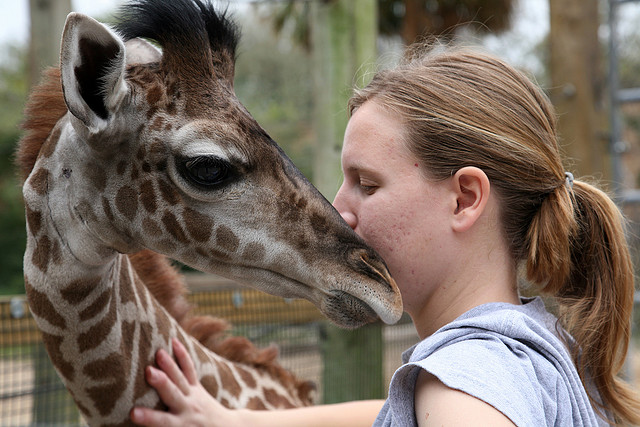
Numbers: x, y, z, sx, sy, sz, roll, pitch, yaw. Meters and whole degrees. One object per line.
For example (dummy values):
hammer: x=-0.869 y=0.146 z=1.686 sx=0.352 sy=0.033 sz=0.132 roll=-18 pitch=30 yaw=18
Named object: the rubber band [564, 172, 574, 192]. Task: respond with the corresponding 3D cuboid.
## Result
rubber band: x=1.324 y=-0.175 z=4.883 sx=0.045 sy=0.094 sz=0.148 roll=0 pitch=11 yaw=20
